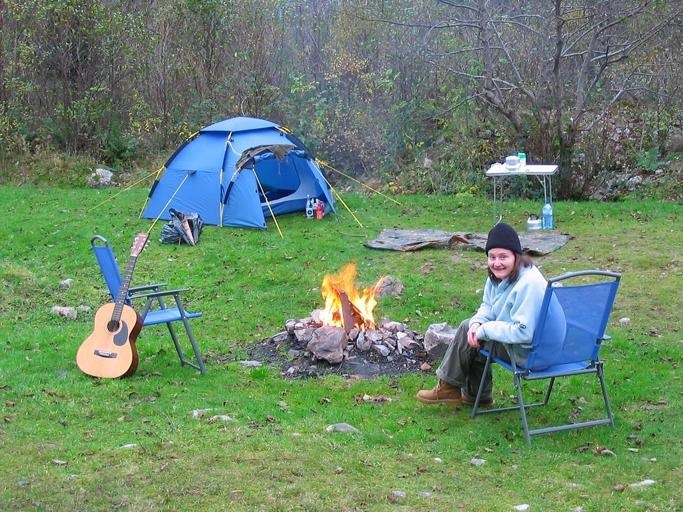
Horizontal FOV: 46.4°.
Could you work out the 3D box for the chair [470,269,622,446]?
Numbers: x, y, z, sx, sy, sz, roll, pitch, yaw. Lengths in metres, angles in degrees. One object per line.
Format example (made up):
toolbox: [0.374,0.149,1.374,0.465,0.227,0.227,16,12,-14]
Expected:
chair: [2.341,0.945,9.191,1.514,2.066,1.665,1,-20,20]

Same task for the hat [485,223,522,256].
hat: [1.874,-0.207,9.193,0.336,0.304,0.367,1,-10,25]

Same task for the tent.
tent: [-2.588,-1.893,18.179,2.872,1.755,3.439,4,9,32]

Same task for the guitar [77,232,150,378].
guitar: [-2.941,0.657,10.378,0.685,1.835,0.259,8,-4,23]

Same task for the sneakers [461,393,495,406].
sneakers: [1.649,1.724,9.699,0.405,0.189,0.151,-1,4,-2]

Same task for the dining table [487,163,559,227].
dining table: [4.019,-1.402,17.845,1.844,1.848,1.527,2,8,16]
